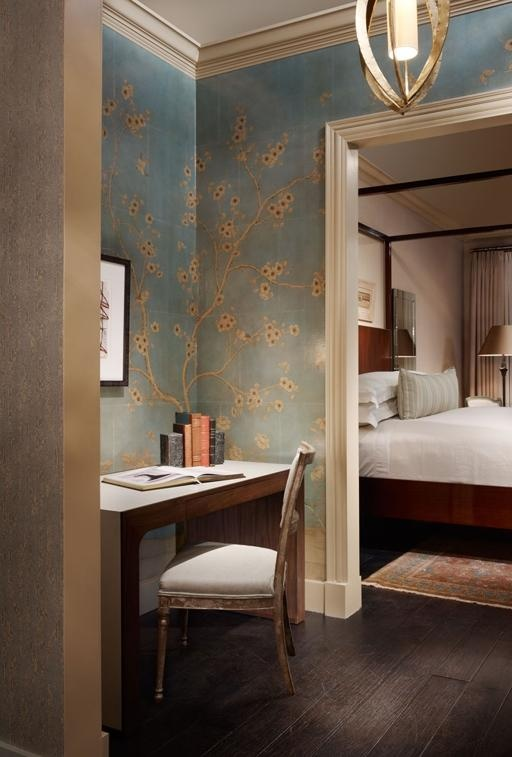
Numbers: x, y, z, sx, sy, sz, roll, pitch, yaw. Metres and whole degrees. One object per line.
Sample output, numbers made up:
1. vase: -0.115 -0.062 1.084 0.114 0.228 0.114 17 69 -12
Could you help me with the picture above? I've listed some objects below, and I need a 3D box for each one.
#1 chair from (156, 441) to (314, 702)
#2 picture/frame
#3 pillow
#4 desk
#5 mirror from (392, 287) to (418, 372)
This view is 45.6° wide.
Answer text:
1. chair: -0.078 0.629 2.288 0.629 1.052 0.619 2 -4 2
2. picture/frame: -0.565 -0.229 2.429 0.050 0.516 0.188 -1 -2 13
3. pillow: 0.987 0.131 3.895 0.571 0.423 0.148 -6 2 -45
4. desk: -0.229 0.639 2.107 0.804 0.530 0.442 0 -4 -44
5. mirror: 1.281 -0.417 5.252 0.093 1.037 0.703 -1 -2 26
